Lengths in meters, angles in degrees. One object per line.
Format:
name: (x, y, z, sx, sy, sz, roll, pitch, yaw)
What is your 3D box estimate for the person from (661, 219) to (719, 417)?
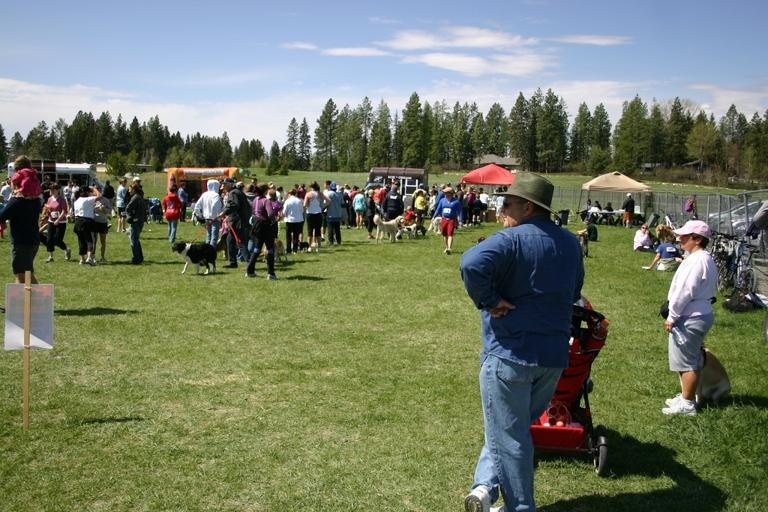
person: (4.459, 0.916, 12.507, 0.678, 2.827, 0.492, 2, 9, 3)

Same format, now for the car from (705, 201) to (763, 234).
car: (10.219, -1.108, 24.932, 2.439, 0.938, 1.199, 6, 8, 40)

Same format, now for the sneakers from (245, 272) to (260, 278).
sneakers: (-3.085, 0.401, 19.925, 0.289, 0.110, 0.346, -3, 11, -24)

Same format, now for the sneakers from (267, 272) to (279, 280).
sneakers: (-2.565, 0.431, 19.630, 0.244, 0.145, 0.470, 0, 10, -10)

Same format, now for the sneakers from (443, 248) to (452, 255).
sneakers: (1.858, -0.157, 25.164, 0.115, 0.141, 0.310, -1, -7, 8)

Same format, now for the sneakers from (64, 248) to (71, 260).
sneakers: (-8.114, -0.068, 21.898, 0.132, 0.302, 0.101, 4, -3, -38)

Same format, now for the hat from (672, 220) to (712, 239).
hat: (4.540, -0.399, 12.571, 0.399, 0.224, 0.278, 2, 1, 24)

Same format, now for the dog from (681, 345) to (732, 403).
dog: (4.978, 1.808, 12.895, 0.486, 0.300, 1.106, 18, 48, -9)

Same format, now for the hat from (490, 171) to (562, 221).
hat: (1.884, -0.843, 10.798, 0.874, 0.414, 0.818, 26, 10, 39)

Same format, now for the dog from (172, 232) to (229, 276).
dog: (-4.508, 0.024, 20.537, 0.982, 0.753, 1.107, -4, 11, -32)
